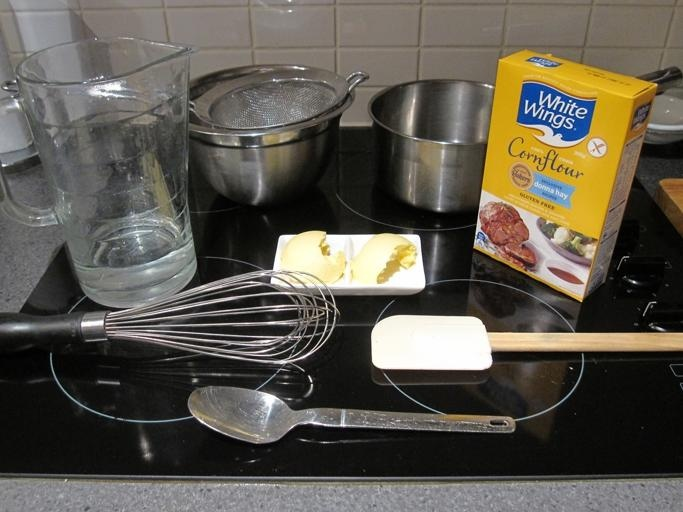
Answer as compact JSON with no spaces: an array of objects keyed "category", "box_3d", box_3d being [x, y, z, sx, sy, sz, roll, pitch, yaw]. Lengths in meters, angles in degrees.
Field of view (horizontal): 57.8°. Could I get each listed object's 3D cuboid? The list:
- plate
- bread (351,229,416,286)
[{"category":"plate","box_3d":[0.013,0.013,0.850,0.179,0.029,0.099,1,51,-1]},{"category":"bread","box_3d":[0.047,0.008,0.868,0.147,0.081,0.021,0,-1,18]}]
